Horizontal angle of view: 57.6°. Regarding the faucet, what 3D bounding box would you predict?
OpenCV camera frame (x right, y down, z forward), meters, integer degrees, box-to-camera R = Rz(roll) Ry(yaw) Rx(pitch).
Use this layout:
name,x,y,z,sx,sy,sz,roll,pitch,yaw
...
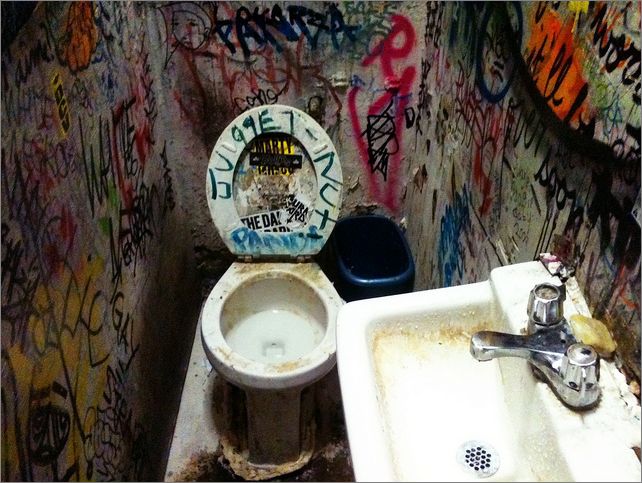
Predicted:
name,x,y,z,sx,sy,sz,roll,pitch,yaw
faucet,0.423,0.208,1.173,0.196,0.132,0.282,-8,29,7

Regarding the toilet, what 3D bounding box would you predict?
name,x,y,z,sx,sy,sz,roll,pitch,yaw
toilet,-0.139,0.179,2.090,0.541,1.175,0.480,-10,-13,10
